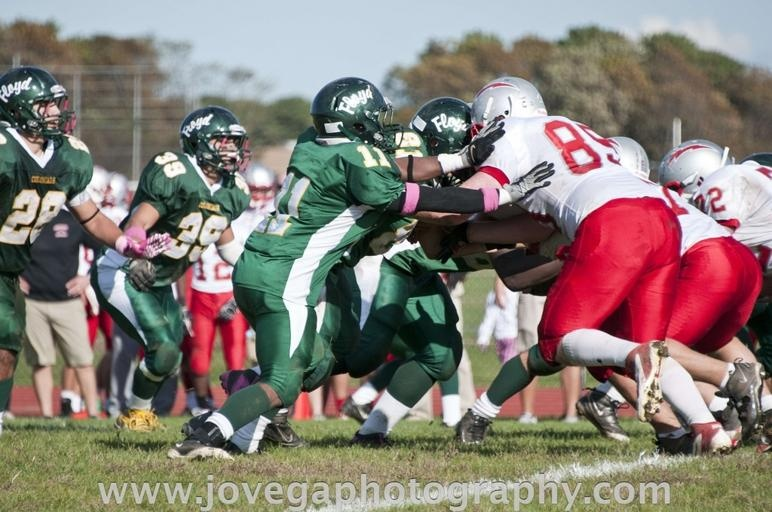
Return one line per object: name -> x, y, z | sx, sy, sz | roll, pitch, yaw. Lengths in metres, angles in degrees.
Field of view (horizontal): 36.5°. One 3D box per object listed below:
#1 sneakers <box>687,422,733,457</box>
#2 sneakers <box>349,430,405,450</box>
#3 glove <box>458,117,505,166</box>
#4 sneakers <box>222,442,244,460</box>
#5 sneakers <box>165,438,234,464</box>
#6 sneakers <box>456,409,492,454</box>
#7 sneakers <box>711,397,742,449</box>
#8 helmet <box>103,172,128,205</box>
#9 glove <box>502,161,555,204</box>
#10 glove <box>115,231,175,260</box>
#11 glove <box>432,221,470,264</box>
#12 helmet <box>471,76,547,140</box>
sneakers -> 2.309, 1.305, 8.338 | 0.182, 0.162, 0.319 | 2, -15, -15
sneakers -> -0.094, 1.509, 9.504 | 0.388, 0.170, 0.130 | -1, 5, -1
glove -> 0.729, -0.817, 8.710 | 0.357, 0.120, 0.257 | -35, 14, 24
sneakers -> -1.168, 1.483, 8.911 | 0.123, 0.059, 0.160 | 2, 3, -35
sneakers -> -1.359, 1.423, 8.583 | 0.481, 0.189, 0.181 | 6, -8, -9
sneakers -> 0.715, 1.463, 9.737 | 0.174, 0.153, 0.417 | -17, 35, 47
sneakers -> 2.511, 1.249, 8.596 | 0.141, 0.392, 0.170 | -35, -32, 20
helmet -> -3.241, -0.761, 13.853 | 0.290, 0.301, 0.394 | -1, 0, 14
glove -> 1.050, -0.522, 8.511 | 0.401, 0.245, 0.127 | -22, 9, 10
glove -> -1.904, -0.054, 9.215 | 0.233, 0.181, 0.617 | -14, 10, -43
glove -> 0.511, -0.116, 9.271 | 0.375, 0.126, 0.129 | -21, 23, 33
helmet -> 0.891, -1.185, 9.268 | 0.569, 0.464, 0.432 | 28, 32, 26
